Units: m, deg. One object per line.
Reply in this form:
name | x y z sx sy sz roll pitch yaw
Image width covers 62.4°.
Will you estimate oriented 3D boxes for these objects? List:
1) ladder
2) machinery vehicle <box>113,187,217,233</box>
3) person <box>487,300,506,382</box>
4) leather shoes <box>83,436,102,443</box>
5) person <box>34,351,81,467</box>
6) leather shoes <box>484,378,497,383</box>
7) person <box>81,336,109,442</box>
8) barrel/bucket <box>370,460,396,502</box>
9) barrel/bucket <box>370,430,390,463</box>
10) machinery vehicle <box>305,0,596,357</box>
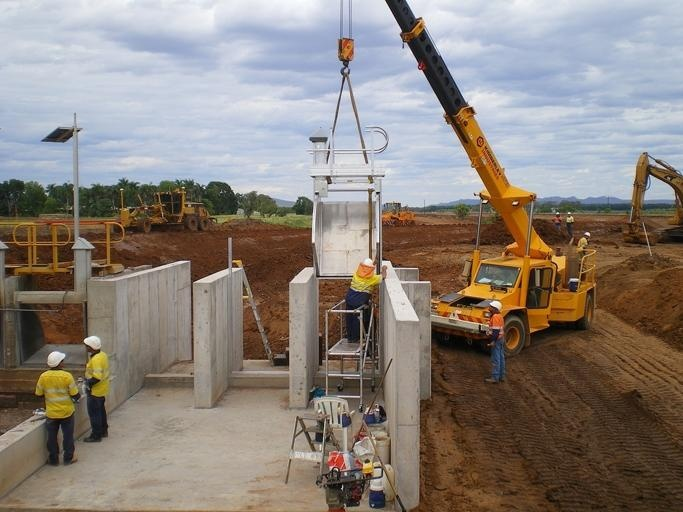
ladder | -0.465 2.914 8.889 0.783 1.111 1.176 0 9 17
machinery vehicle | -12.124 -3.152 39.309 5.336 2.975 9.284 -1 10 -15
person | 3.535 1.933 12.810 0.449 1.722 0.665 5 12 13
leather shoes | -4.218 3.094 9.569 0.285 0.109 0.107 4 0 0
person | -4.399 2.501 8.798 0.577 1.489 0.367 -3 13 -26
leather shoes | 3.366 2.802 12.770 0.261 0.101 0.086 6 3 31
person | -4.168 2.243 9.560 0.403 1.723 0.473 -3 13 -23
barrel/bucket | 0.566 3.176 7.910 0.332 0.542 0.605 4 -12 -14
barrel/bucket | 0.581 2.948 8.744 0.403 0.377 0.380 1 1 0
machinery vehicle | 3.836 -1.702 14.420 8.197 8.481 3.119 -9 16 -44
